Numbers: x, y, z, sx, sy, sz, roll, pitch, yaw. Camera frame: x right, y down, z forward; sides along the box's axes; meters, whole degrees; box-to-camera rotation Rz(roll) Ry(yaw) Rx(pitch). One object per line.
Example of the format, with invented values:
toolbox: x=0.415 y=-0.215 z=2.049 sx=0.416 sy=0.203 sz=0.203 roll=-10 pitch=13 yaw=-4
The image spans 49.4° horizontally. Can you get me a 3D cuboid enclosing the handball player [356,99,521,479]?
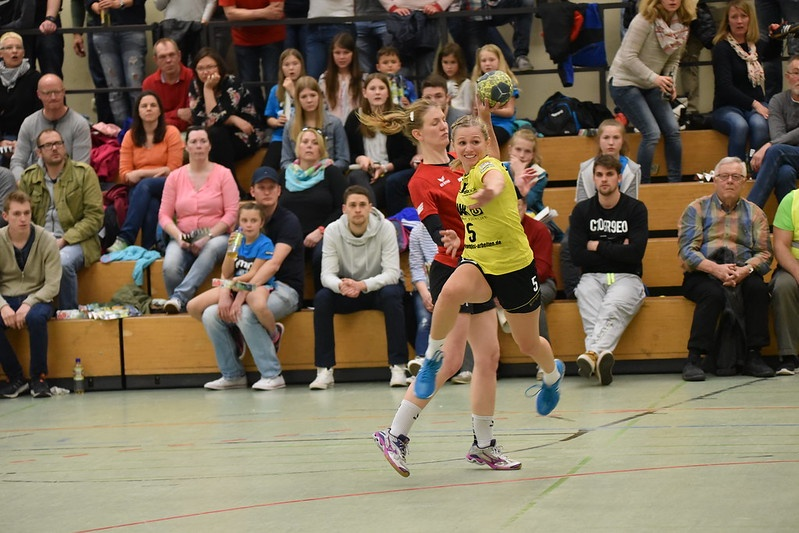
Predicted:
handball player: x=0.303 y=0.116 z=5.996 sx=1.309 sy=2.731 sz=1.157 roll=-7 pitch=3 yaw=-7

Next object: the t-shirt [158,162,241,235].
t-shirt: x=-2.075 y=-0.663 z=9.600 sx=1.138 sy=0.943 sz=0.681 roll=0 pitch=-4 yaw=1

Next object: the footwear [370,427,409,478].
footwear: x=-0.012 y=1.226 z=5.851 sx=0.210 sy=0.371 sz=0.129 roll=-38 pitch=-31 yaw=-1

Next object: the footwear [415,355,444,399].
footwear: x=0.191 y=0.730 z=5.894 sx=0.149 sy=0.158 sz=0.414 roll=12 pitch=43 yaw=13

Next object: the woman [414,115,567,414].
woman: x=0.639 y=0.204 z=5.951 sx=0.569 sy=1.883 sz=1.023 roll=5 pitch=11 yaw=44

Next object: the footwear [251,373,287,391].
footwear: x=-1.278 y=1.163 z=8.527 sx=0.338 sy=0.124 sz=0.125 roll=3 pitch=-5 yaw=-28

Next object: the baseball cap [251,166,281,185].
baseball cap: x=-1.405 y=-0.942 z=9.039 sx=0.236 sy=0.147 sz=0.298 roll=-1 pitch=-16 yaw=-8

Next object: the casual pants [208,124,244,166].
casual pants: x=-2.048 y=-1.417 z=10.142 sx=0.155 sy=0.448 sz=0.484 roll=-15 pitch=11 yaw=17

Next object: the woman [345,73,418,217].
woman: x=-0.178 y=-1.222 z=9.817 sx=0.880 sy=1.842 sz=1.175 roll=-4 pitch=10 yaw=-9

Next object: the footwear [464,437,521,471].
footwear: x=0.631 y=1.321 z=6.045 sx=0.476 sy=0.202 sz=0.159 roll=10 pitch=3 yaw=2

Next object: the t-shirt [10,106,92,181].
t-shirt: x=-4.062 y=-1.408 z=10.076 sx=1.013 sy=0.821 sz=0.709 roll=3 pitch=18 yaw=5

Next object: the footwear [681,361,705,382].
footwear: x=2.736 y=0.990 z=8.056 sx=0.117 sy=0.103 sz=0.260 roll=1 pitch=-7 yaw=-2

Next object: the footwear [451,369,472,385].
footwear: x=0.578 y=1.083 z=8.394 sx=0.248 sy=0.093 sz=0.092 roll=1 pitch=-1 yaw=-9

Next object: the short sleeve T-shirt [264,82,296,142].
short sleeve T-shirt: x=-1.390 y=-1.934 z=10.518 sx=0.420 sy=0.861 sz=0.281 roll=15 pitch=45 yaw=-5

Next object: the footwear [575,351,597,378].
footwear: x=1.745 y=0.910 z=8.047 sx=0.117 sy=0.132 sz=0.316 roll=3 pitch=-33 yaw=9

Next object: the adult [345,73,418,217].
adult: x=-0.208 y=-1.242 z=9.812 sx=0.862 sy=1.844 sz=1.153 roll=-4 pitch=9 yaw=-3

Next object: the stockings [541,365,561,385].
stockings: x=1.090 y=0.777 z=6.244 sx=0.080 sy=0.090 sz=0.228 roll=2 pitch=19 yaw=22

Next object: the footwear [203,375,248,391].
footwear: x=-1.728 y=1.180 z=8.740 sx=0.459 sy=0.169 sz=0.144 roll=2 pitch=-3 yaw=-3

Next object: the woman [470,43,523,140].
woman: x=1.013 y=-1.999 z=10.014 sx=0.822 sy=1.074 sz=0.737 roll=-4 pitch=17 yaw=-3

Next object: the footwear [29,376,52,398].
footwear: x=-3.585 y=1.213 z=8.646 sx=0.188 sy=0.185 sz=0.226 roll=-5 pitch=8 yaw=-22

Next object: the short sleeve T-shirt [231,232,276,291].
short sleeve T-shirt: x=-1.474 y=-0.032 z=8.685 sx=0.637 sy=0.637 sz=0.370 roll=-1 pitch=-3 yaw=27

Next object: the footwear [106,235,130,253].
footwear: x=-3.057 y=-0.226 z=9.460 sx=0.293 sy=0.108 sz=0.109 roll=2 pitch=0 yaw=-21

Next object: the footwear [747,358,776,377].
footwear: x=3.387 y=0.957 z=8.089 sx=0.127 sy=0.109 sz=0.260 roll=1 pitch=-2 yaw=-31

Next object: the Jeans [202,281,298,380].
Jeans: x=-1.472 y=0.620 z=8.626 sx=0.846 sy=0.848 sz=0.614 roll=-18 pitch=-7 yaw=2

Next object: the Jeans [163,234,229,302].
Jeans: x=-2.187 y=0.013 z=9.040 sx=0.442 sy=0.859 sz=0.272 roll=30 pitch=6 yaw=15

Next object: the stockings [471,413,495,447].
stockings: x=0.570 y=1.126 z=5.922 sx=0.125 sy=0.239 sz=0.082 roll=-3 pitch=8 yaw=-3

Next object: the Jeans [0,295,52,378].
Jeans: x=-3.767 y=0.726 z=8.723 sx=0.480 sy=0.814 sz=0.385 roll=-3 pitch=8 yaw=-3

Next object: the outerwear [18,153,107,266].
outerwear: x=-3.730 y=-0.586 z=9.546 sx=1.051 sy=1.116 sz=0.743 roll=3 pitch=19 yaw=11

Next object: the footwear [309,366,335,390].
footwear: x=-0.768 y=1.097 z=8.509 sx=0.210 sy=0.188 sz=0.249 roll=-1 pitch=7 yaw=8

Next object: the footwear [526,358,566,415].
footwear: x=1.117 y=0.875 z=6.366 sx=0.195 sy=0.464 sz=0.183 roll=0 pitch=-39 yaw=35

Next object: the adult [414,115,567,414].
adult: x=0.641 y=0.205 z=5.953 sx=0.569 sy=1.886 sz=1.028 roll=5 pitch=11 yaw=44

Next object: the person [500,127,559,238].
person: x=1.283 y=-0.649 z=9.202 sx=0.559 sy=1.506 sz=0.539 roll=5 pitch=6 yaw=40

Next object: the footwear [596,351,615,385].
footwear: x=1.924 y=0.935 z=8.077 sx=0.148 sy=0.324 sz=0.148 roll=-3 pitch=6 yaw=-12

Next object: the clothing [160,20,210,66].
clothing: x=-2.751 y=-2.931 z=11.048 sx=0.675 sy=0.687 sz=0.312 roll=-5 pitch=26 yaw=-25

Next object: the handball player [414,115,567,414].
handball player: x=0.638 y=0.204 z=5.950 sx=0.569 sy=1.883 sz=1.021 roll=5 pitch=11 yaw=44
